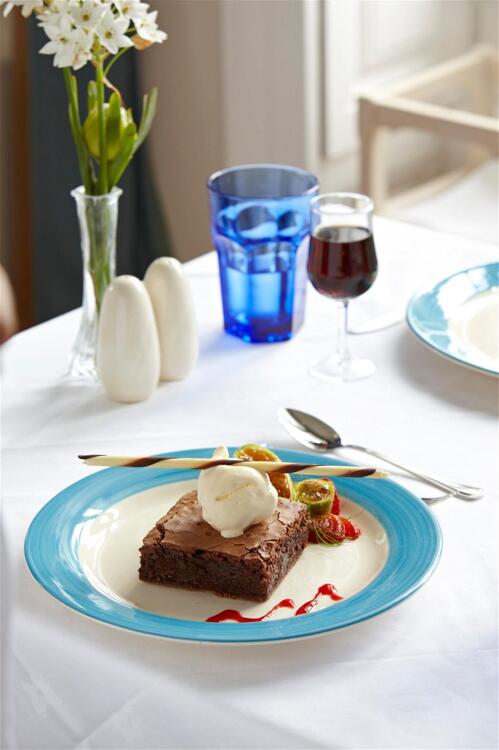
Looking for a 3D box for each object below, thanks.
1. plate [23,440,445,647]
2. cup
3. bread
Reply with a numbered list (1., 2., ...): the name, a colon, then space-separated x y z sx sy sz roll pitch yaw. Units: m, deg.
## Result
1. plate: -0.021 0.144 0.607 0.362 0.033 0.282 2 20 17
2. cup: 0.030 -0.217 1.208 0.245 0.342 0.261 -1 27 0
3. bread: -0.019 0.132 0.594 0.214 0.091 0.130 8 14 20
